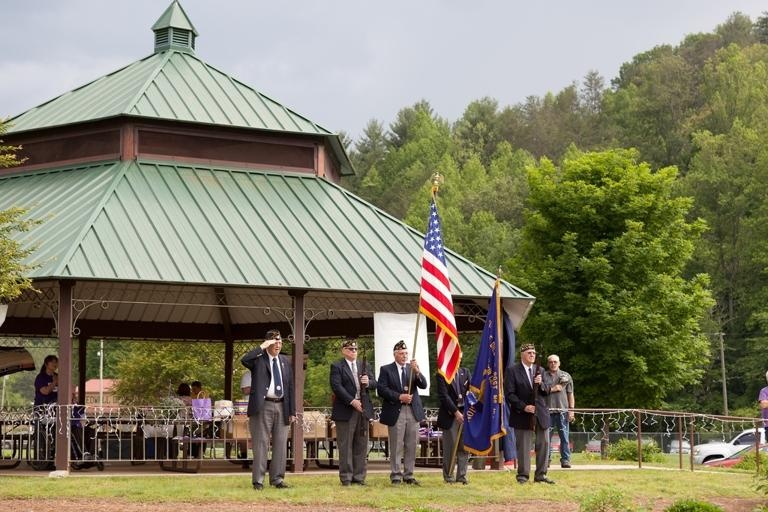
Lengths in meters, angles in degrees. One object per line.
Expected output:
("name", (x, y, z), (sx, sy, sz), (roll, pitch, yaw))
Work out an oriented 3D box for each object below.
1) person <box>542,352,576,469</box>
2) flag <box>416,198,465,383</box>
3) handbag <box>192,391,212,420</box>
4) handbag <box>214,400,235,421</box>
("person", (5.664, 5.038, 43.038), (1.224, 3.599, 0.979), (0, 0, 23))
("flag", (1.837, 0.966, 40.962), (1.798, 4.946, 1.201), (3, 2, -24))
("handbag", (-5.847, 4.922, 42.306), (0.637, 0.727, 0.331), (1, -15, -9))
("handbag", (-5.164, 4.972, 42.616), (0.604, 0.576, 0.594), (1, -27, -4))
